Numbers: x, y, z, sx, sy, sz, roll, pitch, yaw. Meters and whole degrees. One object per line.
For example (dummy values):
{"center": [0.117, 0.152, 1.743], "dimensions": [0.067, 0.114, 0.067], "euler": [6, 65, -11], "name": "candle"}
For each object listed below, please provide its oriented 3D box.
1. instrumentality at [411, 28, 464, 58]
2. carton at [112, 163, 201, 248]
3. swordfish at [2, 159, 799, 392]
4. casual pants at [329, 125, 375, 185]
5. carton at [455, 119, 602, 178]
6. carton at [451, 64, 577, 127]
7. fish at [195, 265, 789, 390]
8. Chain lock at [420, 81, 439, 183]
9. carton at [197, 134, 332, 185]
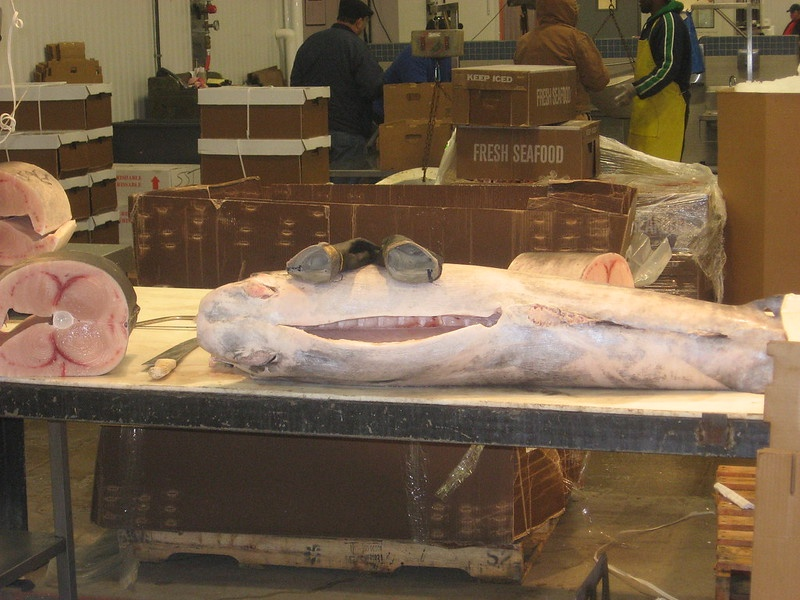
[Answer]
{"center": [0.233, -1.572, 7.610], "dimensions": [0.265, 0.135, 0.142], "euler": [4, 23, 17], "name": "instrumentality"}
{"center": [-1.800, -0.559, 8.621], "dimensions": [0.655, 0.633, 0.483], "euler": [3, 29, 4], "name": "carton"}
{"center": [0.079, -0.078, 4.505], "dimensions": [3.052, 0.660, 0.514], "euler": [4, 33, 7], "name": "swordfish"}
{"center": [-0.341, -1.081, 9.334], "dimensions": [0.415, 0.405, 0.136], "euler": [0, 9, -16], "name": "casual pants"}
{"center": [0.633, -0.818, 6.377], "dimensions": [0.689, 0.274, 0.495], "euler": [3, 22, 16], "name": "carton"}
{"center": [0.589, -1.046, 6.365], "dimensions": [0.477, 0.286, 0.630], "euler": [4, 12, 24], "name": "carton"}
{"center": [0.285, 0.110, 3.946], "dimensions": [1.855, 0.380, 0.213], "euler": [4, 10, 1], "name": "fish"}
{"center": [0.183, -1.007, 7.383], "dimensions": [0.055, 0.666, 0.063], "euler": [18, 17, 30], "name": "Chain lock"}
{"center": [-0.796, -0.792, 6.975], "dimensions": [0.495, 0.217, 0.503], "euler": [1, 11, 7], "name": "carton"}
